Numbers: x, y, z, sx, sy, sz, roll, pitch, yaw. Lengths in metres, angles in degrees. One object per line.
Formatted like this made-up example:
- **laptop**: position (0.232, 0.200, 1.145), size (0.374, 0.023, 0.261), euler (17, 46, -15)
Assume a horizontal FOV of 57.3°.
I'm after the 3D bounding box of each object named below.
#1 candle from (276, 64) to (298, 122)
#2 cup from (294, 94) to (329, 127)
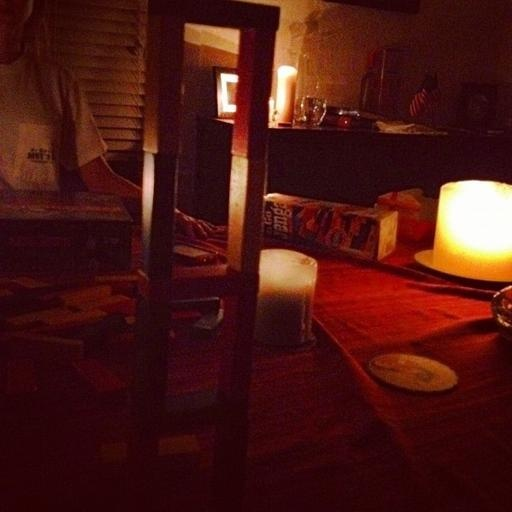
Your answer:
- **candle**: position (0.102, -0.554, 1.612), size (0.066, 0.179, 0.061), euler (5, 14, 0)
- **cup**: position (0.184, -0.488, 1.564), size (0.114, 0.096, 0.091), euler (-5, 15, -21)
